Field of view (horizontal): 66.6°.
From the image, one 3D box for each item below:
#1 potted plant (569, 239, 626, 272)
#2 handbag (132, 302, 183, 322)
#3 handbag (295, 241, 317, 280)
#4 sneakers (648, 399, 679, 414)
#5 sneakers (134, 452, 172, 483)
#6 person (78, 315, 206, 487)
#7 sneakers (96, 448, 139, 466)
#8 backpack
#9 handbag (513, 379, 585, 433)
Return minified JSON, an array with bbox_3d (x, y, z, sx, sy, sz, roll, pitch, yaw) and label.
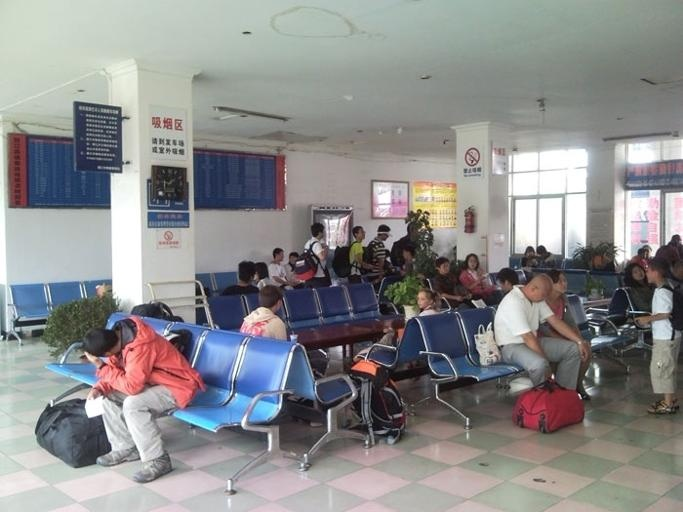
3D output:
[{"bbox_3d":[5.849,-0.022,11.967,1.069,0.728,1.043,2,4,21],"label":"potted plant"},{"bbox_3d":[-2.050,0.601,5.675,0.435,0.147,0.297,6,3,30],"label":"handbag"},{"bbox_3d":[-0.581,0.087,8.670,0.369,0.636,0.419,2,-12,-40],"label":"handbag"},{"bbox_3d":[3.133,1.463,5.045,0.256,0.085,0.143,-1,-2,-9],"label":"sneakers"},{"bbox_3d":[-1.366,1.569,3.870,0.111,0.189,0.298,-4,-3,40],"label":"sneakers"},{"bbox_3d":[-1.527,1.047,3.930,0.798,1.164,0.439,0,5,10],"label":"person"},{"bbox_3d":[-1.740,1.565,4.048,0.309,0.114,0.109,6,-5,-31],"label":"sneakers"},{"bbox_3d":[0.341,1.237,4.597,0.427,0.717,0.552,-12,6,-7],"label":"backpack"},{"bbox_3d":[1.939,1.331,4.817,0.681,0.428,0.369,0,0,-37],"label":"handbag"}]
